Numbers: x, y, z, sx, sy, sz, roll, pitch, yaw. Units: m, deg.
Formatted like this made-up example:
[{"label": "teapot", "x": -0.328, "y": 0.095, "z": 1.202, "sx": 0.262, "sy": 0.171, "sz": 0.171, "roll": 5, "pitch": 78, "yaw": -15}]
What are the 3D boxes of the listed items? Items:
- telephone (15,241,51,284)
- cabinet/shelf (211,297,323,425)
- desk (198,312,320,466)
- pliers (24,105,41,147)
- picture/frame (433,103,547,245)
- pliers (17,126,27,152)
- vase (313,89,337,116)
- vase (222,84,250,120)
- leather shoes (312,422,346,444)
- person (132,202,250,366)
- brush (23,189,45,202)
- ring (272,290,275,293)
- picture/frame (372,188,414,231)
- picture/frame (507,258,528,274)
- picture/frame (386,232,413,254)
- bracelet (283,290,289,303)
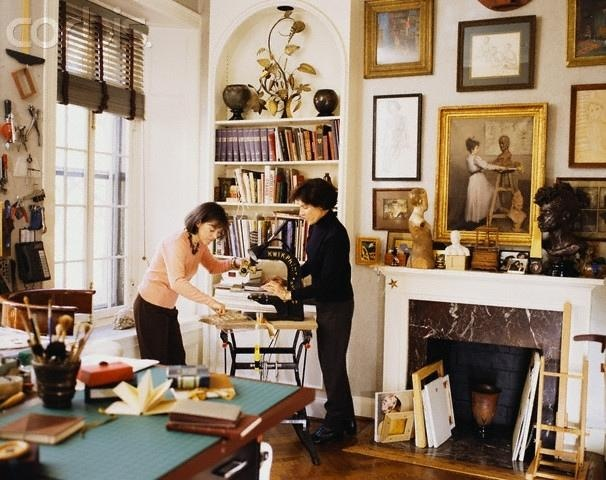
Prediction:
[{"label": "telephone", "x": -1.973, "y": 0.174, "z": 3.933, "sx": 0.098, "sy": 0.342, "sz": 0.239, "roll": 4, "pitch": 12, "yaw": 24}, {"label": "cabinet/shelf", "x": -0.285, "y": 0.829, "z": 4.241, "sx": 0.880, "sy": 0.922, "sz": 0.920, "roll": 0, "pitch": -2, "yaw": 5}, {"label": "desk", "x": -0.301, "y": 1.068, "z": 4.139, "sx": 0.762, "sy": 0.967, "sz": 0.735, "roll": -1, "pitch": 4, "yaw": 2}, {"label": "pliers", "x": -1.968, "y": -0.845, "z": 3.949, "sx": 0.031, "sy": 0.293, "sz": 0.104, "roll": 5, "pitch": 13, "yaw": 31}, {"label": "picture/frame", "x": 1.540, "y": -0.545, "z": 4.289, "sx": 1.061, "sy": 1.560, "sz": 0.077, "roll": 1, "pitch": 0, "yaw": 21}, {"label": "pliers", "x": -2.017, "y": -0.734, "z": 3.873, "sx": 0.025, "sy": 0.178, "sz": 0.072, "roll": 3, "pitch": 11, "yaw": 19}, {"label": "vase", "x": 0.183, "y": -1.184, "z": 4.711, "sx": 0.216, "sy": 0.247, "sz": 0.225, "roll": 0, "pitch": 1, "yaw": -5}, {"label": "vase", "x": -0.591, "y": -1.279, "z": 5.074, "sx": 0.303, "sy": 0.407, "sz": 0.303, "roll": 0, "pitch": 3, "yaw": -1}, {"label": "leather shoes", "x": 0.202, "y": 1.538, "z": 4.256, "sx": 0.300, "sy": 0.148, "sz": 0.111, "roll": 3, "pitch": -2, "yaw": -30}, {"label": "person", "x": -0.840, "y": 0.521, "z": 3.907, "sx": 0.754, "sy": 1.568, "sz": 0.611, "roll": 6, "pitch": 9, "yaw": -9}, {"label": "brush", "x": -1.978, "y": -0.320, "z": 3.947, "sx": 0.033, "sy": 0.094, "sz": 0.151, "roll": 7, "pitch": 14, "yaw": 38}, {"label": "ring", "x": -0.218, "y": 0.380, "z": 3.934, "sx": 0.026, "sy": 0.026, "sz": 0.014, "roll": -3, "pitch": -5, "yaw": 29}, {"label": "picture/frame", "x": 0.783, "y": -0.267, "z": 4.572, "sx": 0.340, "sy": 0.355, "sz": 0.033, "roll": 2, "pitch": 1, "yaw": 17}, {"label": "picture/frame", "x": 1.632, "y": 0.200, "z": 4.098, "sx": 0.142, "sy": 0.100, "sz": 0.143, "roll": 4, "pitch": 13, "yaw": 26}, {"label": "picture/frame", "x": 0.829, "y": 0.028, "z": 4.522, "sx": 0.167, "sy": 0.182, "sz": 0.017, "roll": 2, "pitch": -4, "yaw": 33}, {"label": "bracelet", "x": -0.112, "y": 0.414, "z": 3.904, "sx": 0.044, "sy": 0.062, "sz": 0.019, "roll": 7, "pitch": -7, "yaw": -9}]
